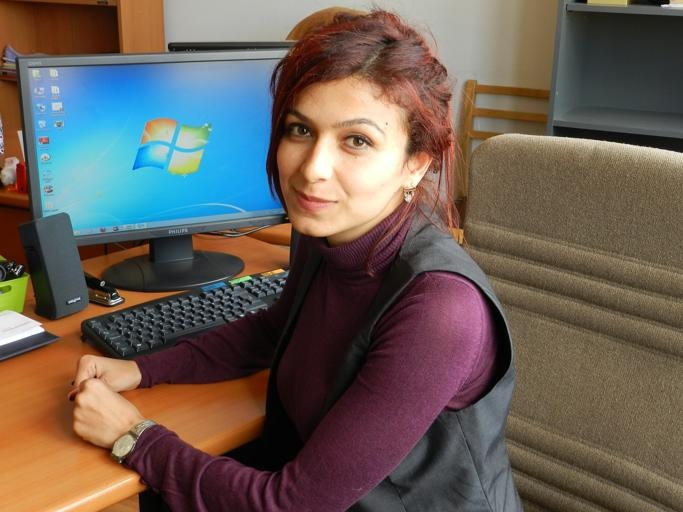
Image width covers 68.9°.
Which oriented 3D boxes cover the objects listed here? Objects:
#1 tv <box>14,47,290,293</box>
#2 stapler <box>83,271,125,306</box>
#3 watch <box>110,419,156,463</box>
[{"bbox_3d":[-0.505,-0.233,1.354,0.648,0.520,0.268,-13,24,-33],"label":"tv"},{"bbox_3d":[-0.678,0.092,1.374,0.176,0.063,0.051,8,21,28],"label":"stapler"},{"bbox_3d":[-0.360,0.309,0.873,0.058,0.060,0.055,44,-1,9],"label":"watch"}]
